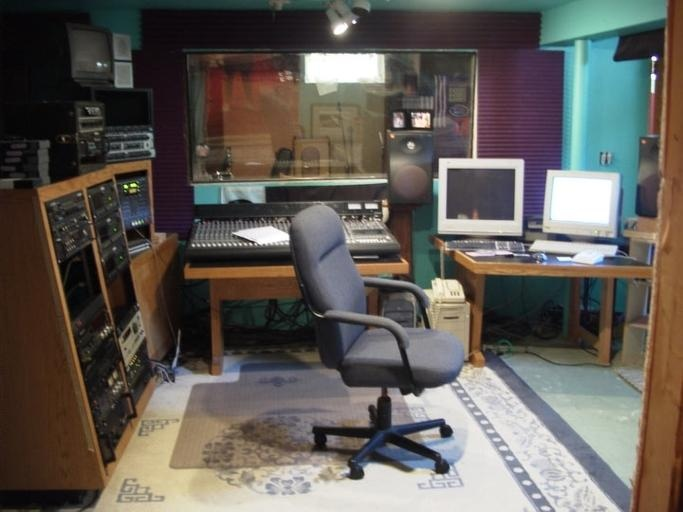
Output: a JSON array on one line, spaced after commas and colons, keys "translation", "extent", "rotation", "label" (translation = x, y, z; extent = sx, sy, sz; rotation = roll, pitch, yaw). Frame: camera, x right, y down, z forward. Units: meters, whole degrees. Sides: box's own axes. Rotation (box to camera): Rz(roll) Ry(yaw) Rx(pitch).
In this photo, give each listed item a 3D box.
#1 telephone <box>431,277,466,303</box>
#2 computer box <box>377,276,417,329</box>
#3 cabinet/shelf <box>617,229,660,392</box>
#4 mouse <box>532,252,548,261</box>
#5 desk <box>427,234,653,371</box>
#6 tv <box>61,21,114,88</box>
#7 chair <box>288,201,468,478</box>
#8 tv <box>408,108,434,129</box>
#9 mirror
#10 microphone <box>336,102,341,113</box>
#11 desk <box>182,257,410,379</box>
[{"translation": [0.771, 0.257, 3.975], "extent": [0.184, 0.074, 0.184], "rotation": [2, 27, -2], "label": "telephone"}, {"translation": [0.440, 0.338, 4.044], "extent": [0.245, 0.333, 0.300], "rotation": [1, 60, 13], "label": "computer box"}, {"translation": [2.100, 0.285, 3.929], "extent": [0.203, 1.038, 0.743], "rotation": [6, 17, 28], "label": "cabinet/shelf"}, {"translation": [1.411, 0.006, 3.909], "extent": [0.066, 0.033, 0.085], "rotation": [2, 19, 12], "label": "mouse"}, {"translation": [1.434, 0.163, 3.922], "extent": [1.136, 0.677, 1.124], "rotation": [0, 7, -2], "label": "desk"}, {"translation": [-1.509, -1.195, 3.262], "extent": [0.125, 0.327, 0.331], "rotation": [2, 15, 16], "label": "tv"}, {"translation": [0.091, 0.293, 3.543], "extent": [1.305, 1.919, 1.118], "rotation": [1, 11, 10], "label": "chair"}, {"translation": [0.611, -1.059, 4.234], "extent": [0.249, 0.175, 0.143], "rotation": [1, 6, 2], "label": "tv"}, {"translation": [-0.122, -1.166, 4.521], "extent": [2.275, 1.033, 0.247], "rotation": [-3, 15, -2], "label": "mirror"}, {"translation": [-0.024, -1.218, 4.492], "extent": [0.023, 0.093, 0.036], "rotation": [-13, 5, -20], "label": "microphone"}, {"translation": [-0.494, 0.651, 4.150], "extent": [1.546, 0.834, 0.835], "rotation": [-2, 14, -8], "label": "desk"}]
